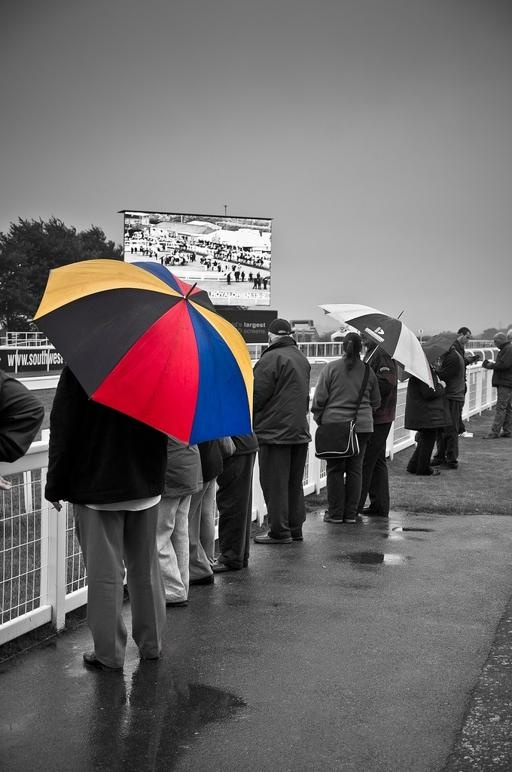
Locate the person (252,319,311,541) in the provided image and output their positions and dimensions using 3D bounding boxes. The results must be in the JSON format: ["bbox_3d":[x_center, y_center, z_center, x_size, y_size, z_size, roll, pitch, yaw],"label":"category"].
[{"bbox_3d":[0.202,0.391,5.956,0.468,1.358,0.483,1,-1,2],"label":"person"}]

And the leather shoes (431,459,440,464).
[{"bbox_3d":[2.732,1.169,10.865,0.104,0.141,0.067,2,-8,-16],"label":"leather shoes"}]

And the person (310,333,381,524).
[{"bbox_3d":[0.860,0.414,6.759,0.643,1.215,0.544,2,-1,-8],"label":"person"}]

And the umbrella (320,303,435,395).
[{"bbox_3d":[1.171,-0.414,6.974,0.896,0.436,0.894,42,-1,-39],"label":"umbrella"}]

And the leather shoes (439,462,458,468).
[{"bbox_3d":[2.891,1.189,10.690,0.252,0.146,0.112,3,-3,12],"label":"leather shoes"}]

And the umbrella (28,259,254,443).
[{"bbox_3d":[-0.424,-0.217,2.821,0.321,0.829,0.736,-38,-44,25],"label":"umbrella"}]

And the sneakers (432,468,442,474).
[{"bbox_3d":[2.560,1.223,10.151,0.077,0.051,0.122,0,1,6],"label":"sneakers"}]

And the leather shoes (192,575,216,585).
[{"bbox_3d":[-0.343,1.261,4.653,0.152,0.077,0.056,5,-12,-35],"label":"leather shoes"}]

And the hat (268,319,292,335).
[{"bbox_3d":[0.190,-0.485,5.867,0.175,0.106,0.239,2,-1,1],"label":"hat"}]

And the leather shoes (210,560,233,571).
[{"bbox_3d":[-0.262,1.273,5.007,0.053,0.065,0.137,-5,-18,38],"label":"leather shoes"}]
